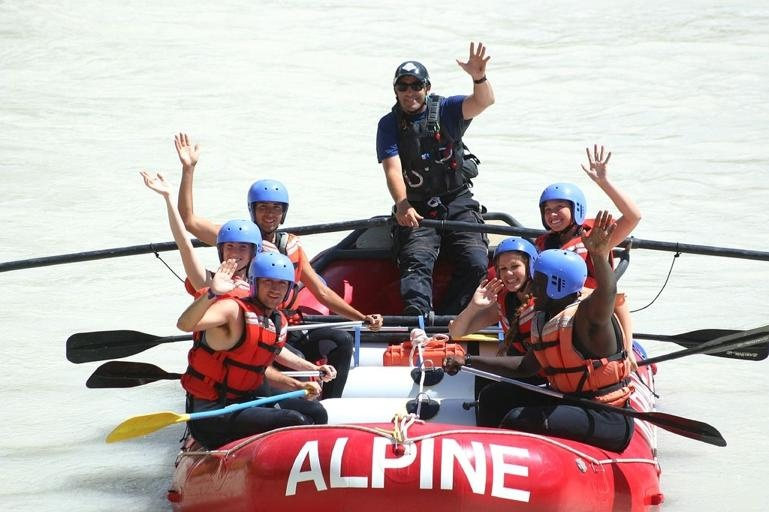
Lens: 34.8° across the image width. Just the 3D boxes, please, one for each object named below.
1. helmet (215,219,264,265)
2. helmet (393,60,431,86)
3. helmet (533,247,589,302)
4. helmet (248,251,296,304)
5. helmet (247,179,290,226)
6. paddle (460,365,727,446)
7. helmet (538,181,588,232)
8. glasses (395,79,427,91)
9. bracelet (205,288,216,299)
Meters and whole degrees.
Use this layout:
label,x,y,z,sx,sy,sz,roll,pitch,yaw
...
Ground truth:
label,x,y,z,sx,sy,sz,roll,pitch,yaw
helmet,-1.342,-0.181,11.534,0.391,0.431,0.349,1,82,-1
helmet,0.274,-1.920,12.560,0.353,0.254,0.298,0,41,5
helmet,1.566,0.143,10.838,0.572,0.349,0.361,5,4,6
helmet,-1.042,0.148,11.203,0.409,0.492,0.354,10,89,-11
helmet,-1.139,-0.560,12.062,0.417,0.462,0.378,3,82,-9
paddle,1.854,1.399,11.312,3.070,0.285,0.128,13,47,5
helmet,1.771,-0.498,11.894,0.537,0.385,0.347,7,77,-46
glasses,0.260,-1.752,12.503,0.183,0.156,0.045,-1,72,6
bracelet,-1.521,0.312,10.679,0.077,0.088,0.082,1,87,6
